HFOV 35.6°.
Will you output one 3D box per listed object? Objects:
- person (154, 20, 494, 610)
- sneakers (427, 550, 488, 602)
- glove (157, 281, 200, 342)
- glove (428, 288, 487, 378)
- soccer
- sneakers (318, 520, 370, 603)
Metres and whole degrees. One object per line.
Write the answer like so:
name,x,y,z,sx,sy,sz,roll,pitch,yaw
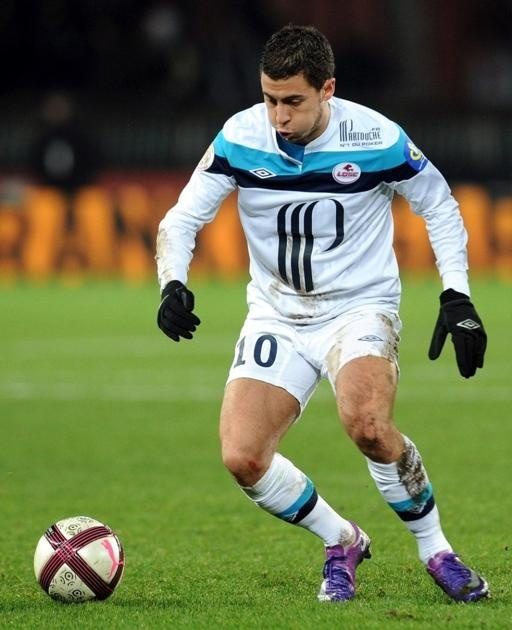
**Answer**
person,0.203,0.060,2.696,1.134,1.631,0.714,2,7,8
sneakers,0.629,0.804,2.459,0.122,0.115,0.185,-3,8,-25
glove,-0.251,-0.006,2.618,0.136,0.209,0.310,0,7,-7
glove,0.650,0.049,2.606,0.213,0.284,0.100,-5,-15,-1
soccer,-0.570,0.787,2.568,0.309,0.269,0.277,1,-31,-3
sneakers,0.272,0.827,2.642,0.099,0.136,0.285,-8,36,30
